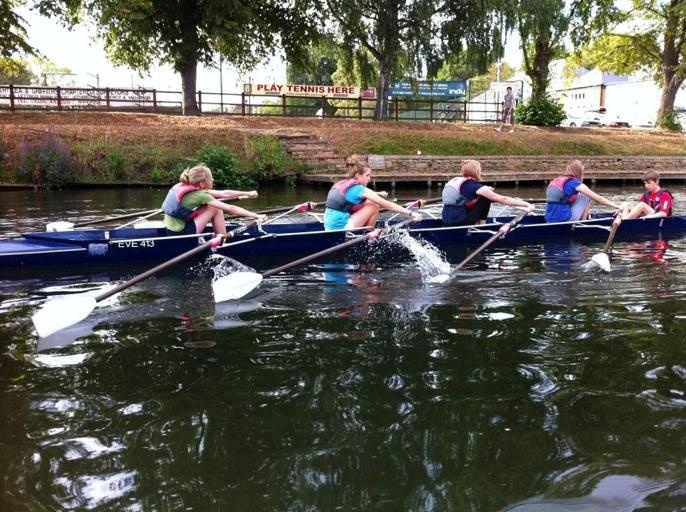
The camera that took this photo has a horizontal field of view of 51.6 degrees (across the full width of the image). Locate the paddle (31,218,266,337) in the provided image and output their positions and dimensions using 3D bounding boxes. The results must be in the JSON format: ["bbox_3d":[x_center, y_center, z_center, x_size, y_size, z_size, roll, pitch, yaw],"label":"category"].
[{"bbox_3d":[-1.727,0.256,8.637,3.915,0.191,0.611,-20,55,-33],"label":"paddle"}]

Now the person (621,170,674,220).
[{"bbox_3d":[5.194,-1.060,12.105,1.233,0.778,0.730,-4,10,-21],"label":"person"}]

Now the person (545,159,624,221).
[{"bbox_3d":[3.574,-0.991,11.147,0.858,0.983,1.052,1,10,13],"label":"person"}]

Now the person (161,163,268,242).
[{"bbox_3d":[-1.673,-0.840,9.915,1.575,1.190,0.827,-14,41,-22],"label":"person"}]

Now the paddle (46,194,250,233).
[{"bbox_3d":[-3.311,-0.678,11.856,2.788,0.173,0.663,-10,30,-13],"label":"paddle"}]

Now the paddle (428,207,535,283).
[{"bbox_3d":[1.977,-0.195,9.932,0.584,0.738,2.545,5,11,30],"label":"paddle"}]

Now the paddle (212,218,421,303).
[{"bbox_3d":[-0.381,0.092,9.484,3.180,0.223,0.445,-14,41,-32],"label":"paddle"}]
